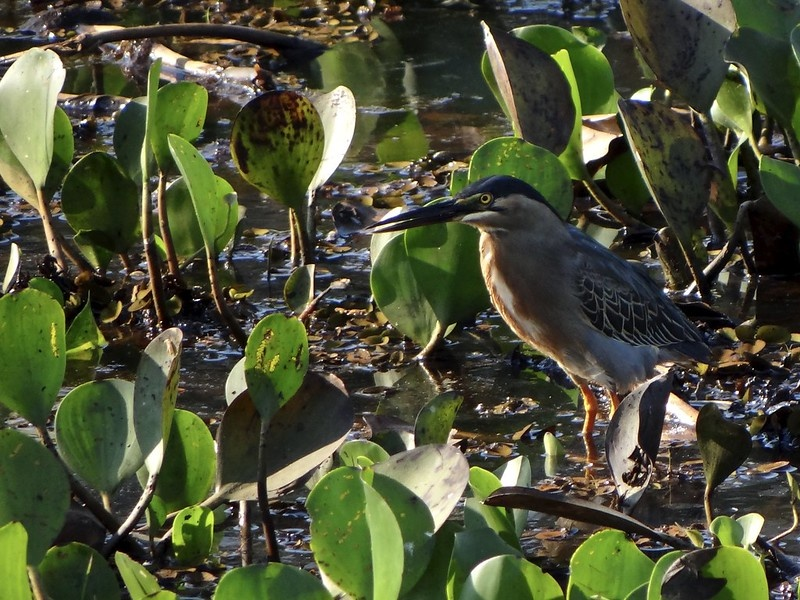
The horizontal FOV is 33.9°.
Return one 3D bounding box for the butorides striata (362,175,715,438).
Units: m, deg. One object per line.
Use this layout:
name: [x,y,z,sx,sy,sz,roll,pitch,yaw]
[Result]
butorides striata: [0.567,0.033,4.323,1.225,0.865,0.394,-7,2,-29]
